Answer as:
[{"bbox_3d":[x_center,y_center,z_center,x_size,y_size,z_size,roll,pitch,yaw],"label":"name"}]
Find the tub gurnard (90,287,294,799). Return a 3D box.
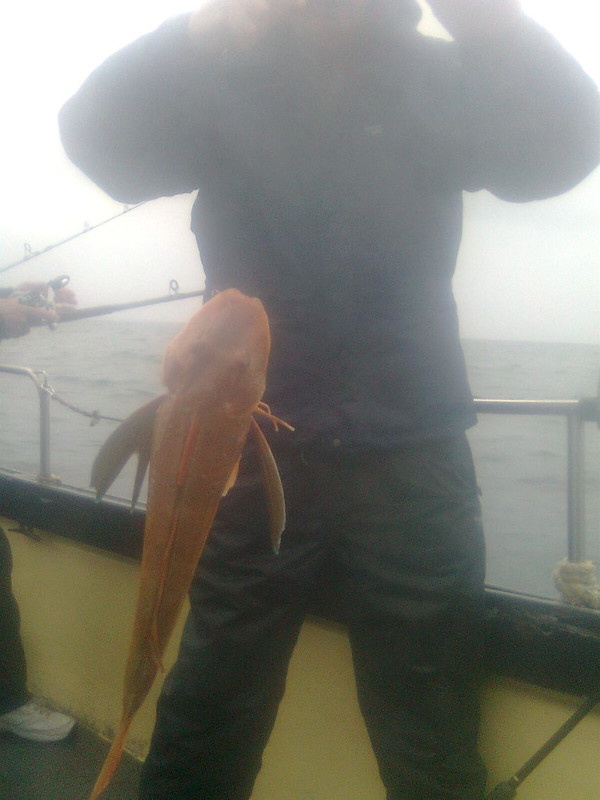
[{"bbox_3d":[-0.133,0.146,0.768,0.245,0.544,0.135,19,7,11],"label":"tub gurnard"}]
